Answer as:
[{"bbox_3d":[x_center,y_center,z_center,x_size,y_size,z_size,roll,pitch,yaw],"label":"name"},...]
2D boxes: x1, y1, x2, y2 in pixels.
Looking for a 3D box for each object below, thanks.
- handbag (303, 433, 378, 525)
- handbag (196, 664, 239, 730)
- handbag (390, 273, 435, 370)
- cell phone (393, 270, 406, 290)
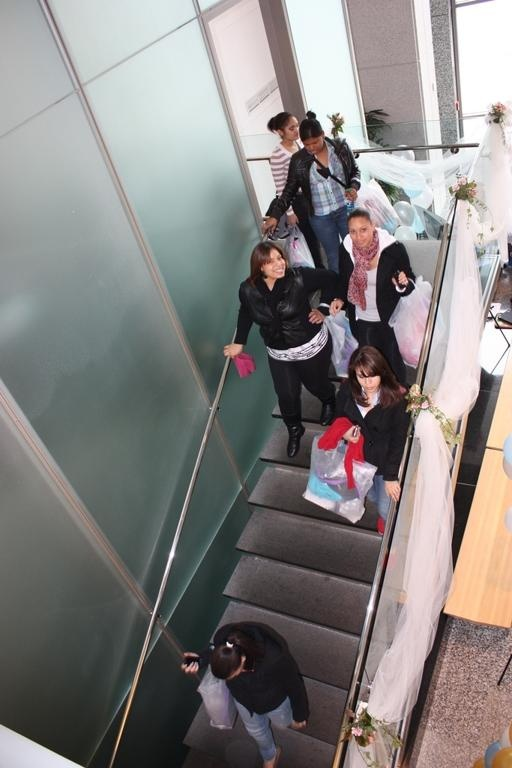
[{"bbox_3d":[0.545,0.636,3.351,0.448,0.567,0.116,19,29,16],"label":"handbag"},{"bbox_3d":[-0.239,1.902,3.009,0.251,0.352,0.112,1,11,0],"label":"handbag"},{"bbox_3d":[1.040,-0.425,3.288,0.359,0.752,0.295,0,39,12],"label":"handbag"},{"bbox_3d":[0.912,-0.658,3.127,0.035,0.110,0.079,-3,-5,35],"label":"cell phone"}]
